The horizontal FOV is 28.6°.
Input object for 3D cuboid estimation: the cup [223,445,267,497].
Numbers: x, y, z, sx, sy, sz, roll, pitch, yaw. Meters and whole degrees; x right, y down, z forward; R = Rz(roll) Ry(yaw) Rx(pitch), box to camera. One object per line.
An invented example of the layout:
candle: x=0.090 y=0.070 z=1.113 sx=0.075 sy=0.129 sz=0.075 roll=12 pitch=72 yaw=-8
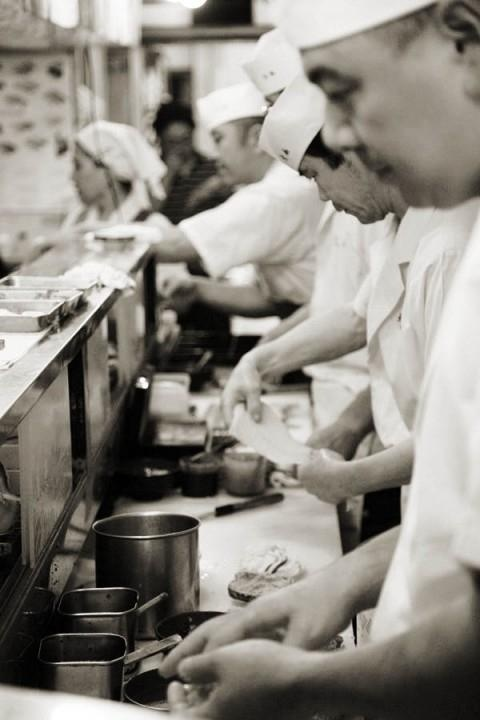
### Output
cup: x=0.015 y=0.273 z=2.339 sx=0.093 sy=0.109 sz=0.103 roll=-3 pitch=3 yaw=-26

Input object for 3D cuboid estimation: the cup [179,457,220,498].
cup: x=-0.094 y=0.280 z=2.297 sx=0.079 sy=0.077 sz=0.087 roll=-1 pitch=5 yaw=17

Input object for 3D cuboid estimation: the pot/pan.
pot/pan: x=-0.158 y=0.352 z=1.611 sx=0.165 sy=0.206 sz=0.184 roll=-1 pitch=2 yaw=-8
